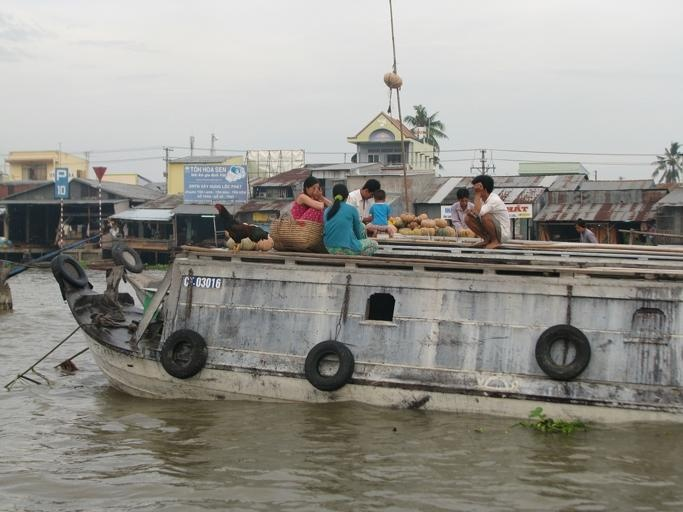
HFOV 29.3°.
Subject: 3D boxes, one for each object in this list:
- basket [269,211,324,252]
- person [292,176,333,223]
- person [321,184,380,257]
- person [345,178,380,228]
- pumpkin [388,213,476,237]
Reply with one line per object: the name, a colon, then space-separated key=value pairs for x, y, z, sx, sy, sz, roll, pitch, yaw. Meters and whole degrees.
basket: x=-0.717 y=-0.409 z=21.818 sx=0.954 sy=0.542 sz=0.757 roll=-2 pitch=-4 yaw=26
person: x=-0.561 y=-0.973 z=22.198 sx=0.786 sy=1.040 sz=0.680 roll=0 pitch=4 yaw=25
person: x=0.143 y=-0.636 z=21.653 sx=0.695 sy=1.241 sz=0.697 roll=2 pitch=4 yaw=28
person: x=0.429 y=-1.025 z=24.317 sx=0.389 sy=0.974 sz=0.443 roll=-7 pitch=6 yaw=-42
pumpkin: x=1.690 y=-0.567 z=25.334 sx=0.988 sy=0.315 sz=0.719 roll=4 pitch=1 yaw=18
